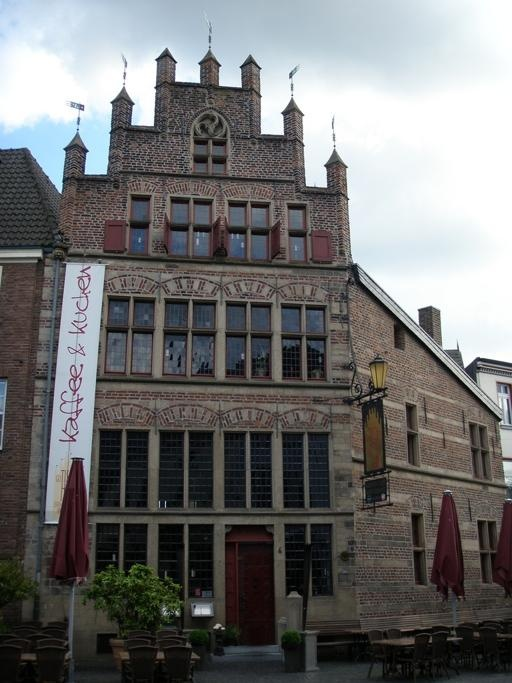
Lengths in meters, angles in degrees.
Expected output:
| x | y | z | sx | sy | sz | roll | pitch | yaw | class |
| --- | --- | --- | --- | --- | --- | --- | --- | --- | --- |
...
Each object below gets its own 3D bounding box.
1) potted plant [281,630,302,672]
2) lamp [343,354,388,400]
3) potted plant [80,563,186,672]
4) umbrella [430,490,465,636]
| x | y | z | sx | sy | sz | roll | pitch | yaw | class |
| --- | --- | --- | --- | --- | --- | --- | --- | --- | --- |
| 0.660 | 5.629 | 13.407 | 0.403 | 0.669 | 0.422 | 0 | -19 | 3 | potted plant |
| 2.615 | 0.872 | 18.111 | 0.998 | 1.059 | 0.309 | -22 | -42 | 32 | lamp |
| -2.346 | 5.168 | 14.019 | 1.865 | 1.388 | 1.584 | 12 | -15 | -26 | potted plant |
| 4.101 | 4.682 | 16.001 | 0.644 | 2.779 | 0.912 | -3 | -20 | 11 | umbrella |
